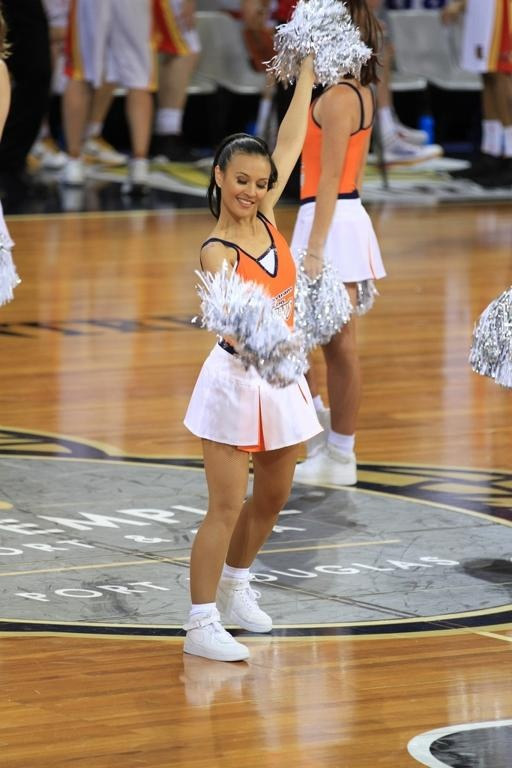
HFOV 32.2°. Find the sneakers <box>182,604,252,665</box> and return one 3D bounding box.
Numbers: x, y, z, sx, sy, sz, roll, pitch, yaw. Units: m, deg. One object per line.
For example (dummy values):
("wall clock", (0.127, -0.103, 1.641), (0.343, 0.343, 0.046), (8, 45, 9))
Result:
("sneakers", (-0.082, 0.468, 1.677), (0.168, 0.103, 0.061), (2, -2, 35))

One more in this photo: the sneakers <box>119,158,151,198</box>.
("sneakers", (-1.315, -2.231, 9.648), (0.214, 0.556, 0.242), (2, 69, -5))

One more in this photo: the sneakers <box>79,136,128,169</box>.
("sneakers", (-1.642, -2.608, 9.972), (0.651, 0.236, 0.209), (7, 40, -2))

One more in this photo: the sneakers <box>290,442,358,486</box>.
("sneakers", (0.251, 0.287, 3.182), (0.265, 0.142, 0.109), (3, 5, 30))
